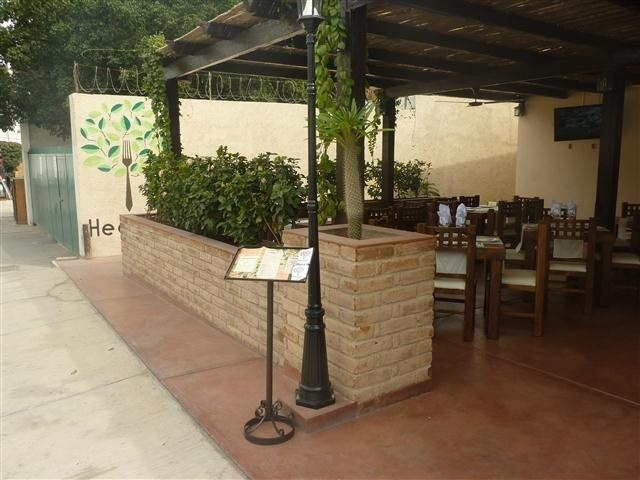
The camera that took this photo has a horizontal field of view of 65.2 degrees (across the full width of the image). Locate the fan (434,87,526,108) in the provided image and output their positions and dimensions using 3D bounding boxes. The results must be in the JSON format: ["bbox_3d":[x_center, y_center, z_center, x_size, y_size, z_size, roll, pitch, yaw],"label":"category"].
[{"bbox_3d":[3.744,-3.253,11.433,1.215,0.255,1.055,-9,15,-43],"label":"fan"}]

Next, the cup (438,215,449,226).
[{"bbox_3d":[1.399,-0.219,5.642,0.097,0.133,0.136,7,9,34],"label":"cup"}]

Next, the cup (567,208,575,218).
[{"bbox_3d":[3.431,-0.369,6.825,0.116,0.134,0.119,-3,4,0],"label":"cup"}]

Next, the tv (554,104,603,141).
[{"bbox_3d":[5.486,-2.472,10.529,0.146,0.926,1.320,-16,19,-33],"label":"tv"}]

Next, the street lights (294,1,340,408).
[{"bbox_3d":[-0.052,-0.226,3.702,0.313,2.977,0.434,-2,11,-11],"label":"street lights"}]
